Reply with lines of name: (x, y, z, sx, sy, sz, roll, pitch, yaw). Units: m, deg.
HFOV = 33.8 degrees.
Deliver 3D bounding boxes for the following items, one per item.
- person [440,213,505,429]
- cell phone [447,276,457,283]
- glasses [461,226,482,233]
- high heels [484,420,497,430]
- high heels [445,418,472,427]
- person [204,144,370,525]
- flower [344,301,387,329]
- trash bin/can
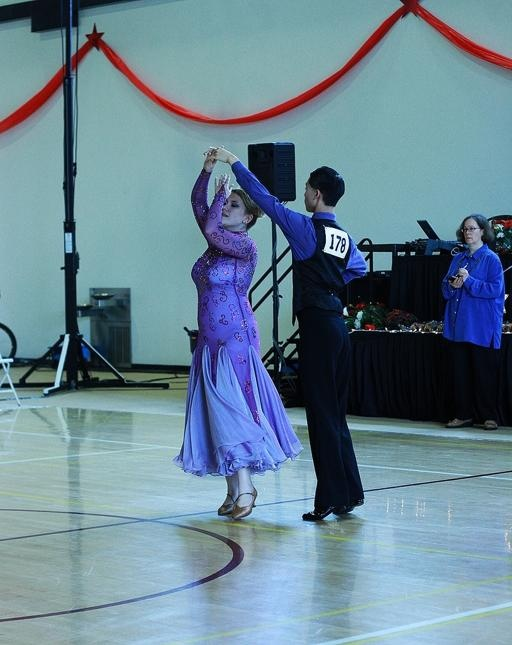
person: (1.555, -0.001, 6.097, 0.442, 1.541, 0.604, -4, -3, 4)
cell phone: (1.371, -0.312, 5.898, 0.046, 0.045, 0.080, -3, -9, 0)
glasses: (1.530, -0.664, 5.987, 0.135, 0.053, 0.098, -4, -3, 13)
high heels: (1.683, 0.732, 6.069, 0.096, 0.067, 0.119, -4, -3, 13)
high heels: (1.490, 0.729, 6.207, 0.220, 0.082, 0.071, 3, -1, -12)
person: (0.208, 0.043, 3.337, 0.348, 1.489, 0.652, -6, -4, 42)
flower: (0.890, -0.072, 6.916, 0.269, 0.170, 0.286, 1, 1, 16)
trash bin/can: (-1.993, 0.059, 11.401, 0.327, 1.134, 0.762, -1, -4, -42)
